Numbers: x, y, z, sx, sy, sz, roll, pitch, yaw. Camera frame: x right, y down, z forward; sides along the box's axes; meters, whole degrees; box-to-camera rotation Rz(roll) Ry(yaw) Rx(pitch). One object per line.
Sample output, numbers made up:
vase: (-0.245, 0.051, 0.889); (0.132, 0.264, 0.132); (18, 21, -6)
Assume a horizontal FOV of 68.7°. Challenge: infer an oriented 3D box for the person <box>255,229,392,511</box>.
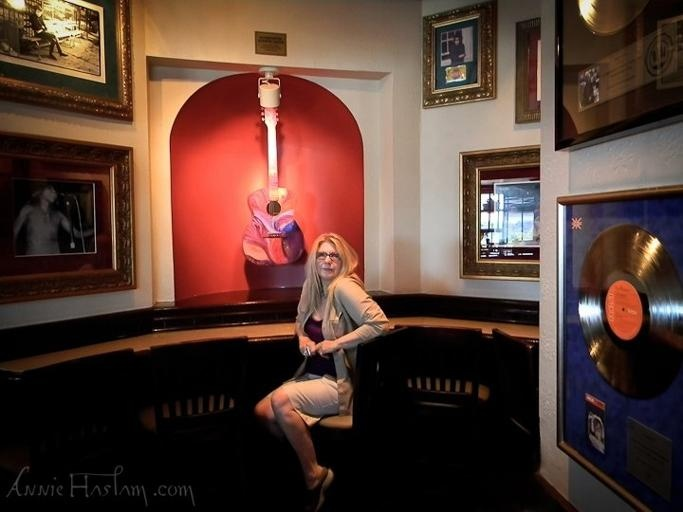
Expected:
person: (-0.124, 0.705, 2.902); (0.779, 1.698, 0.806); (11, -22, -25)
